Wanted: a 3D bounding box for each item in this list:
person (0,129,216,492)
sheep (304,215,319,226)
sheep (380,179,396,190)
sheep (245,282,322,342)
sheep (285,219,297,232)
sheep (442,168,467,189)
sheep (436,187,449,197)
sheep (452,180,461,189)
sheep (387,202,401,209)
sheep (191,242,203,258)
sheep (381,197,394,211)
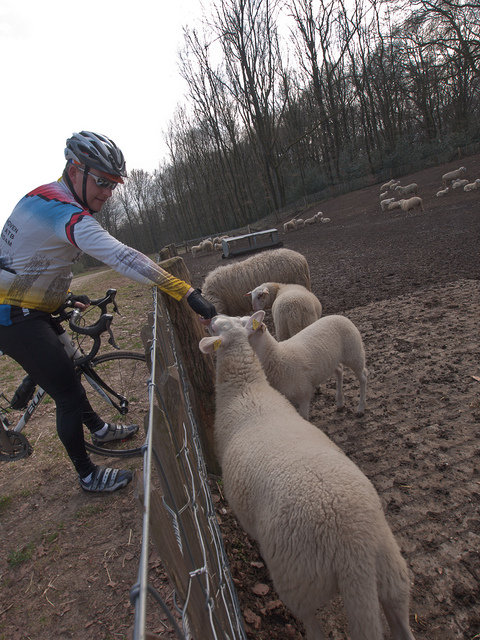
[{"bbox_3d":[-1.004,0.108,2.644,0.867,2.506,1.349,-1,14,-38],"label":"person"},{"bbox_3d":[4.386,-6.146,25.662,0.440,0.677,1.142,-3,16,-43],"label":"sheep"},{"bbox_3d":[10.515,-9.649,29.590,0.892,0.719,1.411,12,12,18],"label":"sheep"},{"bbox_3d":[0.550,-0.143,5.089,1.032,0.640,0.377,-11,-6,-41],"label":"sheep"},{"bbox_3d":[3.217,-6.109,25.977,0.356,0.733,1.056,22,56,35],"label":"sheep"},{"bbox_3d":[10.415,-6.955,20.445,0.786,1.060,1.360,13,12,23],"label":"sheep"},{"bbox_3d":[9.034,-5.722,18.642,0.429,0.465,0.664,13,12,22],"label":"sheep"},{"bbox_3d":[9.732,-6.181,18.759,0.209,0.291,0.596,-7,46,45],"label":"sheep"},{"bbox_3d":[7.531,-5.597,20.435,0.235,0.322,0.615,16,57,48],"label":"sheep"},{"bbox_3d":[-2.804,-4.715,27.637,0.679,0.989,2.690,7,12,-6],"label":"sheep"},{"bbox_3d":[7.624,-6.150,21.625,0.349,0.585,1.098,-14,28,27],"label":"sheep"}]
